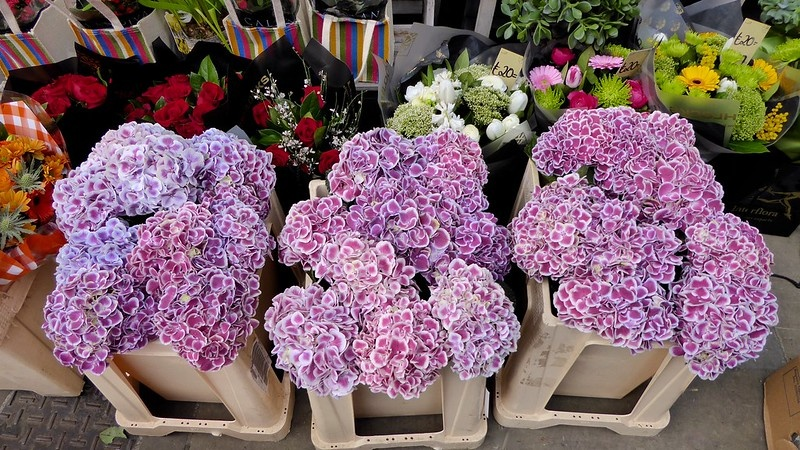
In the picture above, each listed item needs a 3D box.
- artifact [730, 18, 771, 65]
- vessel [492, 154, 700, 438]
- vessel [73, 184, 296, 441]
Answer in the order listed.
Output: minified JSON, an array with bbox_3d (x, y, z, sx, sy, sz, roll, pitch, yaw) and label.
[{"bbox_3d":[1.879,-0.988,2.706,0.130,0.208,0.102,19,54,17],"label":"artifact"},{"bbox_3d":[1.027,0.493,2.564,0.884,0.916,0.838,10,51,9],"label":"vessel"},{"bbox_3d":[-1.175,0.587,2.854,1.306,1.197,1.209,-2,69,-1],"label":"vessel"}]
